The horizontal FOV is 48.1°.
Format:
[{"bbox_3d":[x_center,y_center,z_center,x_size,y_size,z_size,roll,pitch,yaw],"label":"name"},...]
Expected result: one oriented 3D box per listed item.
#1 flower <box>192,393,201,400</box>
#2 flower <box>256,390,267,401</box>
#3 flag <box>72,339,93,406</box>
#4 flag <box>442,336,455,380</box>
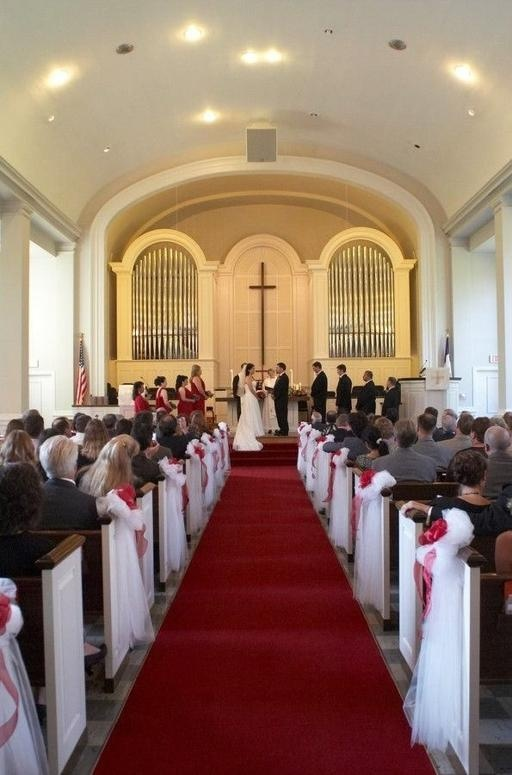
[{"bbox_3d":[-1.114,0.185,10.758,0.080,0.107,0.091,6,34,-20],"label":"flower"},{"bbox_3d":[0.106,0.156,11.730,0.182,0.110,0.260,1,5,-7],"label":"flower"},{"bbox_3d":[-3.482,-0.369,11.553,0.253,1.054,0.589,-1,1,12],"label":"flag"},{"bbox_3d":[3.681,-0.628,11.060,0.214,0.838,1.397,-1,2,18],"label":"flag"}]
